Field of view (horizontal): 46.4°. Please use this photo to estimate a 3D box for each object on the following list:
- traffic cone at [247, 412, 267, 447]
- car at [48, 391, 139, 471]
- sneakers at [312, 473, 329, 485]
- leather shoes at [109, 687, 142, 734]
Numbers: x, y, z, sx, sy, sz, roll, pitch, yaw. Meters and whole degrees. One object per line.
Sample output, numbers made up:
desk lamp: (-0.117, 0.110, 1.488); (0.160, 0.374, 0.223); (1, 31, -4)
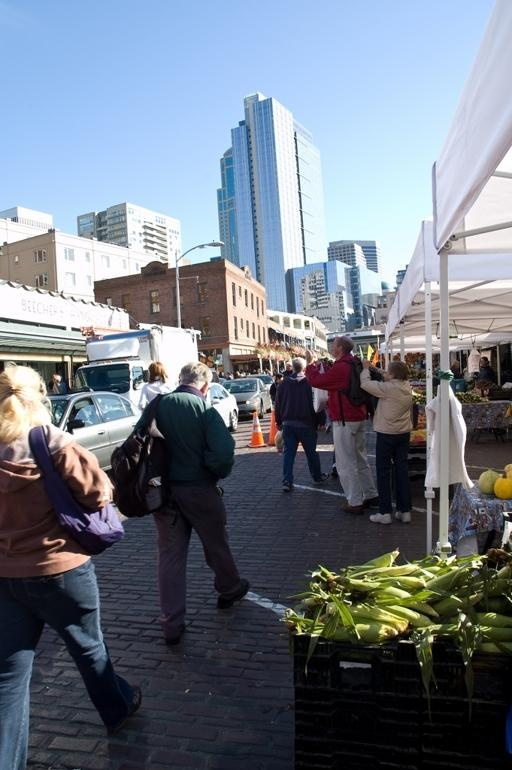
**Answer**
traffic cone: (-0.092, 1.136, 14.235); (0.660, 0.839, 0.653); (-1, -7, -3)
car: (-2.681, 0.643, 9.215); (1.099, 1.007, 2.257); (-3, -8, 15)
sneakers: (0.976, 1.422, 9.121); (0.112, 0.139, 0.316); (1, 5, 22)
leather shoes: (-0.637, 1.599, 2.950); (0.071, 0.080, 0.210); (-3, 16, 11)
